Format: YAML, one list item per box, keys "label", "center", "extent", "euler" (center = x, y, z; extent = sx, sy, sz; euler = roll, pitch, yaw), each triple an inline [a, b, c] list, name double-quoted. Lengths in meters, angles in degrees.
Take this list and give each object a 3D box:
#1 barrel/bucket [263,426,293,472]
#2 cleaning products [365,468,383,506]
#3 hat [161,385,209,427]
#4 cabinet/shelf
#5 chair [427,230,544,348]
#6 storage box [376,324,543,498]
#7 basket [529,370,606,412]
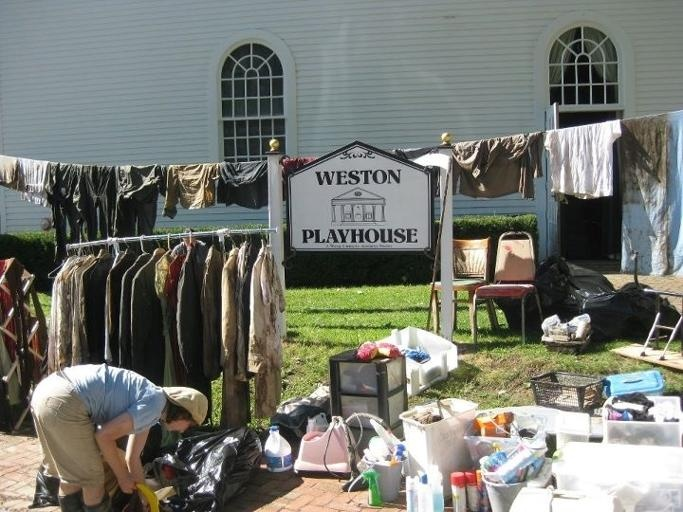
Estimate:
- label: "barrel/bucket"
  center: [-0.623, 1.895, 7.885]
  extent: [0.265, 0.428, 0.215]
  euler: [-2, 10, 9]
- label: "cleaning products"
  center: [0.292, 2.108, 7.314]
  extent: [0.170, 0.322, 0.123]
  euler: [-1, 2, 9]
- label: "hat"
  center: [-1.418, 1.309, 7.311]
  extent: [0.313, 0.372, 0.347]
  euler: [1, 8, -32]
- label: "cabinet/shelf"
  center: [0.286, 1.388, 8.179]
  extent: [0.678, 0.993, 0.674]
  euler: [4, 7, 20]
- label: "chair"
  center: [1.853, 0.252, 10.784]
  extent: [1.714, 1.912, 1.256]
  euler: [0, 1, 29]
- label: "storage box"
  center: [0.922, 1.517, 7.934]
  extent: [1.046, 1.250, 0.967]
  euler: [0, 9, 11]
- label: "basket"
  center: [2.345, 1.381, 8.384]
  extent: [0.816, 0.335, 0.608]
  euler: [-5, 0, 41]
